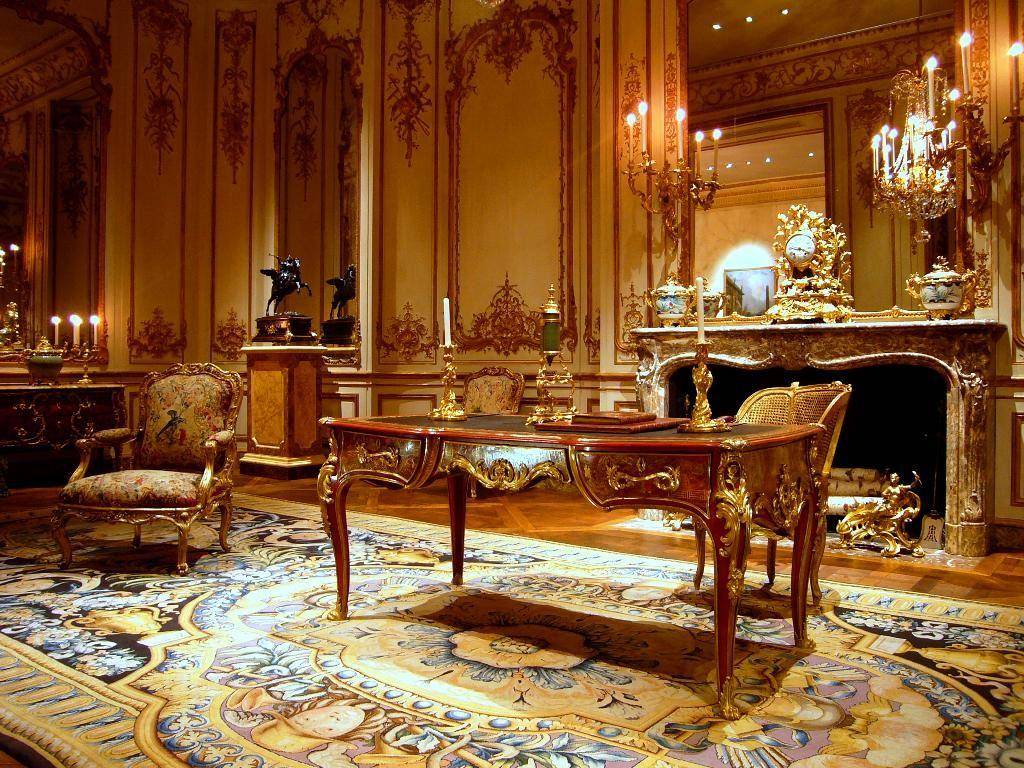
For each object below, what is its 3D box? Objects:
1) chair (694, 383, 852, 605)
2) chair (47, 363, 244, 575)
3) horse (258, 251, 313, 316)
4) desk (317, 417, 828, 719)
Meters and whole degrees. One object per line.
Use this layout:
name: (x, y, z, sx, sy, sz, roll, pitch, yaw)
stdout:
chair: (1.198, 0.415, 3.320, 0.544, 0.809, 0.582, -14, -1, -11)
chair: (-1.954, 0.419, 4.211, 0.859, 1.096, 0.896, 1, 2, -17)
horse: (-2.082, -0.923, 7.181, 0.428, 0.597, 1.041, -1, 4, -18)
desk: (0.260, 0.515, 4.223, 2.677, 0.898, 2.946, 2, 4, 24)
